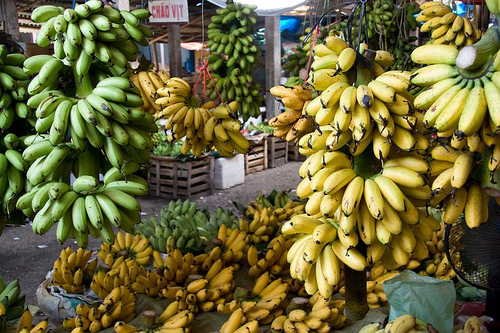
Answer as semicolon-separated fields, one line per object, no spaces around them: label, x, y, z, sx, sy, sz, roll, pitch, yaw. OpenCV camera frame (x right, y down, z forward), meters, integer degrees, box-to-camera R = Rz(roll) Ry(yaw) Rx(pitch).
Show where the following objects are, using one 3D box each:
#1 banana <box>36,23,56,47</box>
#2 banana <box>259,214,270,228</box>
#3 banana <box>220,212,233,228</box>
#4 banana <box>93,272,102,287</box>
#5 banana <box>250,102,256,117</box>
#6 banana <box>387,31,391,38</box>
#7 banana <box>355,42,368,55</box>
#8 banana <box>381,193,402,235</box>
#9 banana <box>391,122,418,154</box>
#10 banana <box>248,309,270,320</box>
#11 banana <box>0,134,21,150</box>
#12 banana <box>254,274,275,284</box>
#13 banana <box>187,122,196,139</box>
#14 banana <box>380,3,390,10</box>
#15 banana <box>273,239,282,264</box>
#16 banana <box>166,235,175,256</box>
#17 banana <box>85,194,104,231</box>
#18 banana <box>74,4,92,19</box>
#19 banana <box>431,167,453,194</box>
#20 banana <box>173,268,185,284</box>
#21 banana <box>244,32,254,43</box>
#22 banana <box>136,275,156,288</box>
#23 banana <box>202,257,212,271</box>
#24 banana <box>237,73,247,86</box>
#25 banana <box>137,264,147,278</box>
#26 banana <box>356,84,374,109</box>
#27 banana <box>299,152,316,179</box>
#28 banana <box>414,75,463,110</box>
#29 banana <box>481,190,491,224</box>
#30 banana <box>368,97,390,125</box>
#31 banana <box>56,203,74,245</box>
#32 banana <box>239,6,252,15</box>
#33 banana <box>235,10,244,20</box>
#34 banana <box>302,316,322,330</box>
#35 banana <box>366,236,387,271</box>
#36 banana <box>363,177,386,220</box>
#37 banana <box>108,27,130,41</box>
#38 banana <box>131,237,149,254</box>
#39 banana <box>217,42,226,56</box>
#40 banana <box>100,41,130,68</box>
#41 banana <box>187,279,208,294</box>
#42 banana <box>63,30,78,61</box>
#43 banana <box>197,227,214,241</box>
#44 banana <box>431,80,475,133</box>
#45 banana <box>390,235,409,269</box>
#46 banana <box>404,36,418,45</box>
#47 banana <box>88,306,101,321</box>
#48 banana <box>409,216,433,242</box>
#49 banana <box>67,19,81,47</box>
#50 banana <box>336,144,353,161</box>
banana;-1.332;-0.849;3.002;0.080;0.160;0.054;20;11;-6
banana;0.158;0.560;4.662;0.047;0.060;0.181;26;63;11
banana;-0.245;0.566;4.881;0.062;0.076;0.224;-35;16;-2
banana;-1.280;0.934;3.820;0.034;0.133;0.044;-28;-8;33
banana;0.031;-0.520;4.226;0.054;0.094;0.024;-1;4;-34
banana;1.294;-1.232;4.269;0.026;0.057;0.089;1;15;23
banana;0.677;-0.704;2.726;0.047;0.059;0.087;-2;14;13
banana;0.786;0.262;2.573;0.063;0.230;0.073;-27;3;1
banana;0.844;-0.177;2.612;0.072;0.082;0.222;-12;46;-37
banana;0.066;1.117;3.449;0.151;0.061;0.077;-10;15;-21
banana;-1.606;-0.162;3.078;0.068;0.094;0.115;17;-5;-36
banana;0.125;0.974;3.926;0.109;0.039;0.114;-19;-14;24
banana;-0.455;-0.270;3.587;0.036;0.145;0.051;15;32;-4
banana;1.233;-1.462;4.179;0.056;0.033;0.058;-1;5;5
banana;0.252;0.765;4.147;0.071;0.221;0.055;0;13;-41
banana;-0.745;0.722;4.264;0.055;0.213;0.074;-2;-18;18
banana;-1.017;0.282;2.911;0.074;0.277;0.091;-23;-25;-17
banana;-1.071;-0.999;2.946;0.066;0.067;0.111;-19;36;-38
banana;1.079;0.080;2.565;0.155;0.044;0.056;-40;10;-5
banana;-0.591;0.922;3.859;0.080;0.110;0.060;-12;12;-39
banana;-0.003;-1.147;4.070;0.042;0.035;0.141;24;26;-36
banana;-0.869;0.954;3.799;0.154;0.116;0.085;-4;14;4
banana;-0.373;0.867;4.092;0.051;0.063;0.113;-32;10;23
banana;-0.068;-0.777;4.081;0.054;0.041;0.154;9;35;-25
banana;-0.922;0.899;3.942;0.042;0.152;0.048;-3;22;35
banana;0.631;-0.394;2.518;0.068;0.053;0.143;-15;44;3
banana;0.330;0.004;2.781;0.062;0.191;0.049;7;25;-40
banana;1.023;-0.407;2.476;0.103;0.130;0.375;-2;4;-20
banana;1.348;0.236;2.631;0.053;0.208;0.046;2;1;44
banana;0.702;-0.306;2.511;0.060;0.071;0.195;1;35;-5
banana;-1.167;0.386;2.943;0.074;0.286;0.092;14;11;-15
banana;-0.033;-1.405;4.126;0.044;0.048;0.088;-2;24;-45
banana;-0.096;-1.355;4.085;0.052;0.049;0.077;-2;5;2
banana;0.439;1.098;3.225;0.058;0.052;0.178;-11;-3;-24
banana;0.745;0.526;2.712;0.070;0.242;0.092;30;-19;-16
banana;0.686;0.183;2.536;0.075;0.247;0.070;-1;-25;-10
banana;-0.870;-0.888;3.070;0.117;0.088;0.135;-6;14;-6
banana;-1.036;0.772;4.402;0.245;0.062;0.085;-52;-3;-27
banana;-0.261;-1.049;4.152;0.056;0.044;0.159;-36;-8;-28
banana;-0.878;-0.732;3.059;0.072;0.265;0.098;-41;6;18
banana;-0.418;0.964;3.696;0.152;0.083;0.052;-25;-9;6
banana;-1.139;-0.745;2.917;0.056;0.216;0.071;-24;-11;13
banana;-0.450;0.666;4.572;0.196;0.090;0.100;3;16;28
banana;1.057;-0.310;2.374;0.074;0.277;0.097;35;-4;-8
banana;0.858;0.502;2.646;0.074;0.218;0.064;-20;0;-12
banana;1.573;-1.237;4.475;0.098;0.058;0.493;1;15;22
banana;-1.150;1.090;3.412;0.050;0.090;0.075;3;52;11
banana;0.995;0.366;2.683;0.179;0.050;0.066;37;23;4
banana;-1.136;-0.853;2.969;0.064;0.075;0.220;-27;52;8
banana;0.582;-0.094;2.800;0.064;0.031;0.091;16;49;-1
